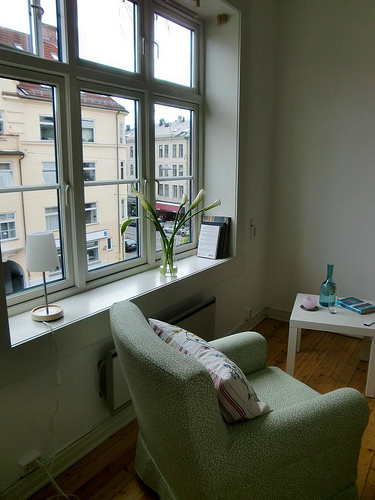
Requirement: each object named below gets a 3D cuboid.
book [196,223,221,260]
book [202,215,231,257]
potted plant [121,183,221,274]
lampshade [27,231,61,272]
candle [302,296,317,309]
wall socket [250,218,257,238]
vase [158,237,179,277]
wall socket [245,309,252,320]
[{"bbox_3d":[0.166,-0.072,2.941,0.194,0.278,0.027,8,-2,36],"label":"book"},{"bbox_3d":[0.230,-0.108,2.929,0.272,0.371,0.047,9,6,40],"label":"book"},{"bbox_3d":[-0.139,-0.156,2.598,0.592,0.520,0.589,-3,10,-27],"label":"potted plant"},{"bbox_3d":[-0.604,-0.009,1.610,0.145,0.160,0.136,-11,17,-30],"label":"lampshade"},{"bbox_3d":[0.844,0.357,2.584,0.075,0.068,0.077,0,-13,31],"label":"candle"},{"bbox_3d":[0.569,-0.194,3.241,0.031,0.133,0.131,4,3,24],"label":"wall socket"},{"bbox_3d":[-0.137,0.029,2.440,0.124,0.260,0.168,-5,13,-5],"label":"vase"},{"bbox_3d":[0.550,0.577,3.392,0.037,0.102,0.107,4,13,29],"label":"wall socket"}]
